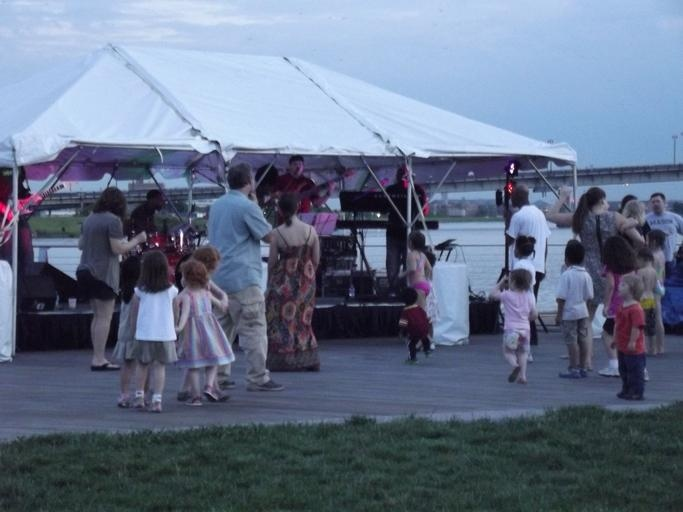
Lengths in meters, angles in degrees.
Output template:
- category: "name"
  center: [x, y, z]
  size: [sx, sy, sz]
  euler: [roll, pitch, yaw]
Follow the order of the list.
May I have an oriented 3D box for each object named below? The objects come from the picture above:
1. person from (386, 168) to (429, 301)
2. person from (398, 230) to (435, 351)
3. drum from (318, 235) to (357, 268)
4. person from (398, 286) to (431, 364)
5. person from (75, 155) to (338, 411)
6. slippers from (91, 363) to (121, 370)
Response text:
- category: "person"
  center: [0.797, -0.382, 20.617]
  size: [0.456, 1.965, 0.529]
  euler: [2, 24, 4]
- category: "person"
  center: [0.852, 0.343, 17.805]
  size: [0.311, 1.313, 0.446]
  euler: [3, 9, 14]
- category: "drum"
  center: [-0.054, -0.119, 20.407]
  size: [0.364, 0.438, 0.392]
  euler: [-2, 8, -12]
- category: "person"
  center: [0.807, 0.729, 17.425]
  size: [0.339, 0.846, 0.409]
  euler: [-2, -4, 3]
- category: "person"
  center: [-1.030, 0.099, 16.111]
  size: [0.871, 2.857, 0.737]
  euler: [0, 0, 44]
- category: "slippers"
  center: [-2.523, 1.148, 16.746]
  size: [0.304, 0.122, 0.138]
  euler: [0, -5, -8]
